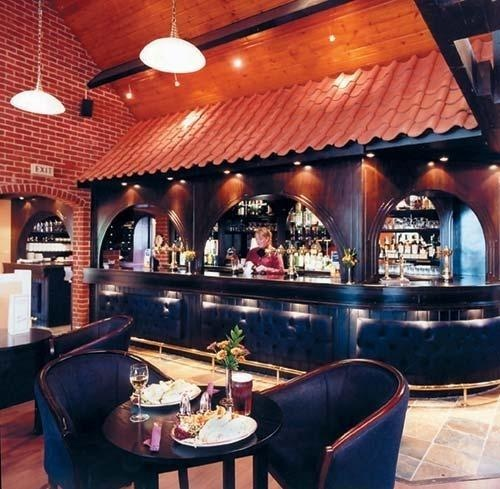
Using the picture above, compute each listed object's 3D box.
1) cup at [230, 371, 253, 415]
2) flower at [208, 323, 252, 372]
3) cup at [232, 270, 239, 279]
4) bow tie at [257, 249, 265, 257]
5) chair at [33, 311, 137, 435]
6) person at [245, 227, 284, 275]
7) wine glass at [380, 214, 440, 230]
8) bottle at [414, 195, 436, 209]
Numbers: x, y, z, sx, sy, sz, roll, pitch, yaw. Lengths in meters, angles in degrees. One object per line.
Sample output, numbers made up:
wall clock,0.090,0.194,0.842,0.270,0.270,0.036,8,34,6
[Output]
cup,-0.044,0.815,2.576,0.123,0.222,0.127,0,-2,0
flower,-0.108,0.572,2.636,0.180,0.224,0.171,5,-12,30
cup,-0.191,0.383,6.300,0.070,0.143,0.142,-2,-3,16
bow tie,0.153,0.111,6.605,0.024,0.109,0.103,4,5,-44
chair,-1.336,1.080,4.223,0.874,1.117,0.801,8,-12,-39
person,0.193,0.075,6.114,0.474,0.586,1.092,0,4,1
wine glass,2.417,-0.335,7.148,0.804,0.214,0.387,1,5,26
bottle,2.545,-0.618,6.970,0.081,0.197,0.344,-3,5,-38
